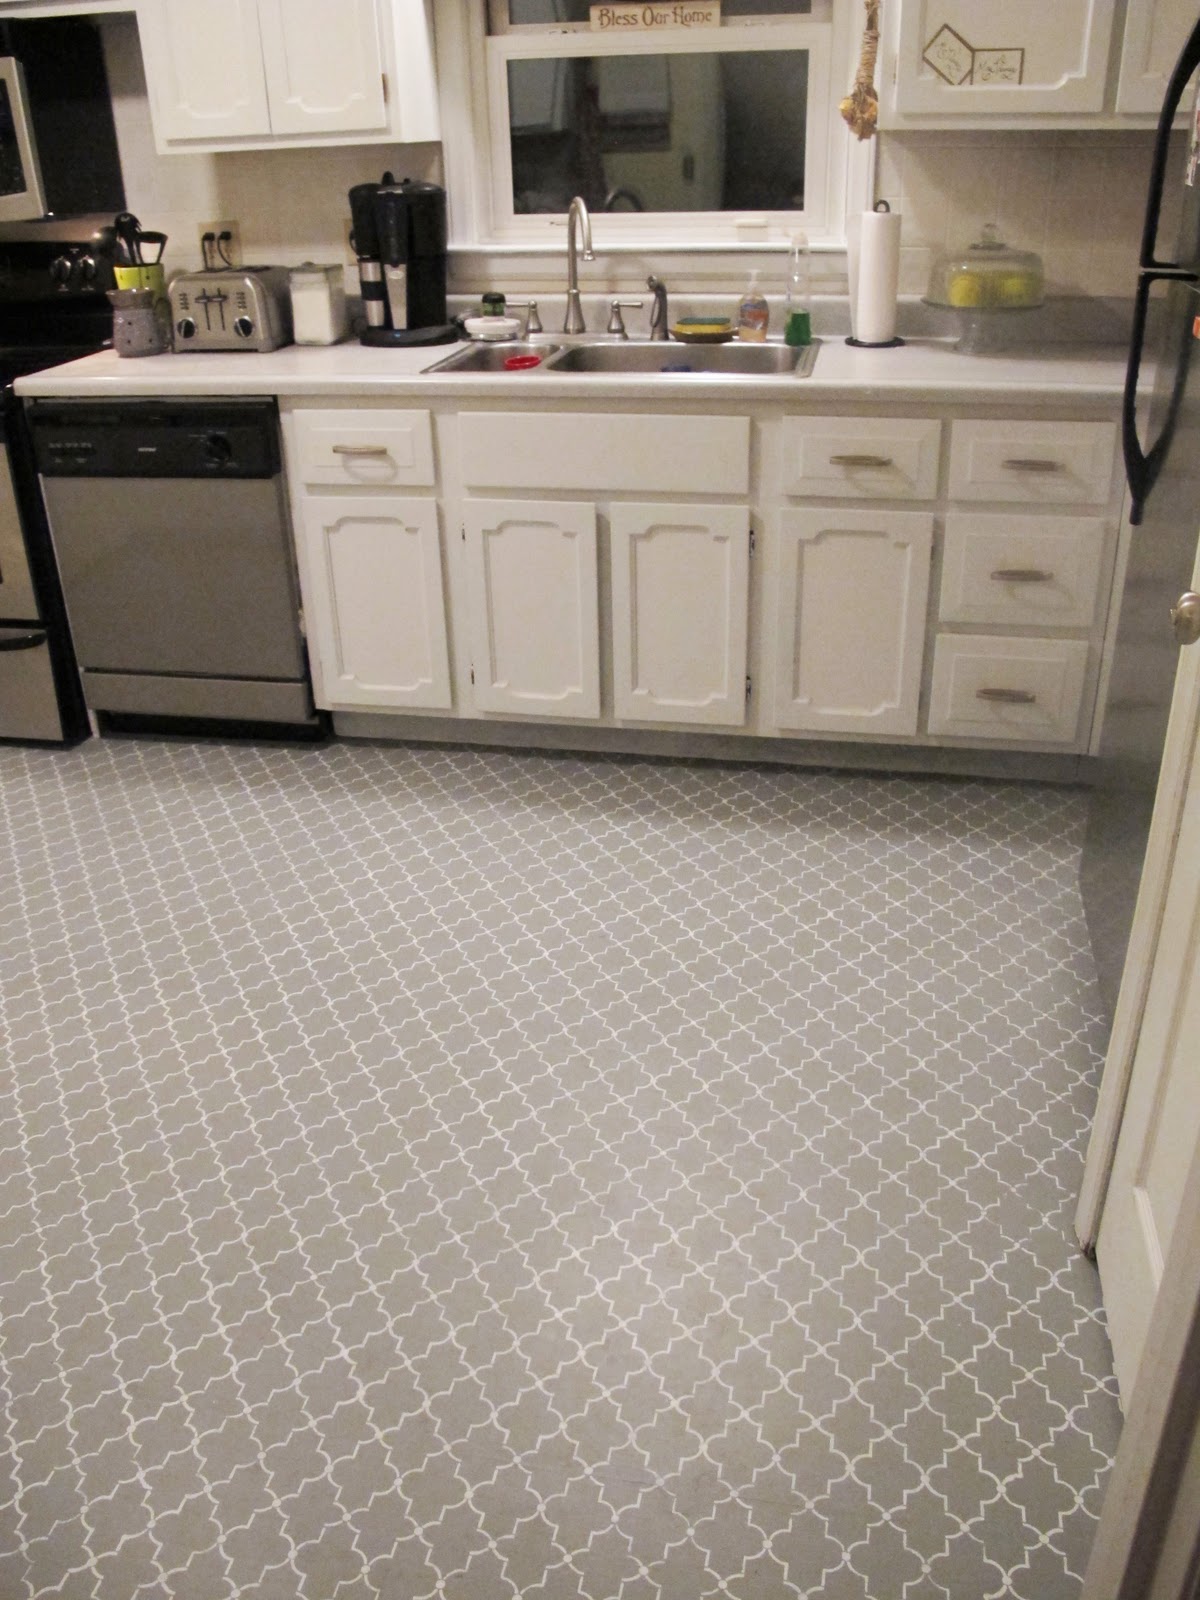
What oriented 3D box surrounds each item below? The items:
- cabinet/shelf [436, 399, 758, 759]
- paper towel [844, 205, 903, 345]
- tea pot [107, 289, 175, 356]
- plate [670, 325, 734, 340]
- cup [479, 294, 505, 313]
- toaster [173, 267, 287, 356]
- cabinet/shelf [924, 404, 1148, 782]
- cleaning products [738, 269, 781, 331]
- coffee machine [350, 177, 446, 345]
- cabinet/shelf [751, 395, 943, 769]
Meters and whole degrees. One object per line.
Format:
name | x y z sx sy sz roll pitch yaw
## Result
cabinet/shelf | 0.032 -0.563 2.744 0.697 0.702 0.377 4 32 8
paper towel | 0.619 -1.173 2.629 0.134 0.308 0.125 8 38 19
tea pot | -1.121 -1.164 2.909 0.119 0.180 0.187 13 24 22
plate | 0.244 -1.094 2.788 0.140 0.051 0.081 2 29 7
cup | -0.264 -1.231 2.956 0.056 0.050 0.056 1 40 -1
toaster | -0.908 -1.200 2.911 0.295 0.186 0.162 -9 29 -14
cabinet/shelf | 0.915 -0.520 2.544 0.390 0.739 0.401 -3 34 8
cleaning products | 0.373 -1.192 2.843 0.082 0.141 0.152 2 28 7
coffee machine | -0.482 -1.310 2.863 0.226 0.366 0.227 5 33 8
cabinet/shelf | 0.524 -0.488 2.474 0.406 0.895 0.464 4 38 11
